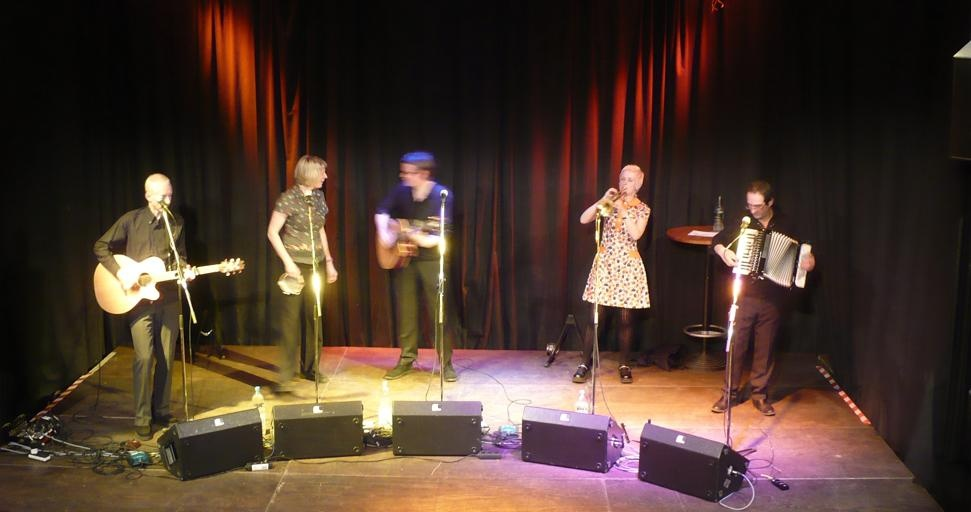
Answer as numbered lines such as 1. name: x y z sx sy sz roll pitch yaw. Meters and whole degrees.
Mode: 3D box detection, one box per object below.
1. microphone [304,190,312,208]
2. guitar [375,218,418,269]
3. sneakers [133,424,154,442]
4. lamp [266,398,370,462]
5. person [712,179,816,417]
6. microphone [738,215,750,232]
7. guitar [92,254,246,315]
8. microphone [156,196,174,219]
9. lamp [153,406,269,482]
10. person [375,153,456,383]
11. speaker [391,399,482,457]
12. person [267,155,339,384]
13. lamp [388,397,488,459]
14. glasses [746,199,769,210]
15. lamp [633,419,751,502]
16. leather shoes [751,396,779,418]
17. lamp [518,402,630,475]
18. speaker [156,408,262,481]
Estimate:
1. microphone: -2.275 -0.739 9.551 0.123 0.189 0.054 1 2 -35
2. guitar: -1.194 -0.133 9.711 0.610 0.577 0.581 -3 5 -34
3. sneakers: -4.078 2.109 8.849 0.216 0.177 0.216 0 8 -21
4. lamp: -1.941 2.062 8.708 1.007 0.582 0.529 1 -1 -14
5. person: 3.413 0.519 9.333 1.146 2.907 1.402 4 9 11
6. microphone: 3.063 -0.368 8.707 0.122 0.153 0.249 0 -10 17
7. guitar: -3.917 0.340 8.788 1.369 0.664 0.353 2 8 -4
8. microphone: -3.811 -0.578 8.805 0.177 0.274 0.358 -1 8 -22
9. lamp: -3.007 2.113 8.245 1.055 0.677 0.764 -5 13 -25
10. person: -0.833 0.156 9.866 1.101 3.036 1.074 6 9 22
11. speaker: -0.578 2.015 8.500 1.125 0.682 0.603 1 19 0
12. person: -2.368 0.237 9.706 0.805 3.069 1.413 -5 12 -42
13. lamp: -0.469 2.042 8.774 1.111 0.646 0.592 -2 -6 13
14. glasses: 3.299 -0.609 8.876 0.263 0.104 0.181 4 8 8
15. lamp: 2.268 2.284 8.086 1.128 0.725 0.231 4 9 12
16. leather shoes: 3.518 1.919 9.267 0.143 0.158 0.383 -4 4 -9
17. lamp: 0.910 2.088 8.372 1.078 0.668 0.751 2 9 17
18. speaker: -3.018 2.133 8.244 1.054 0.672 0.765 -5 14 -30
